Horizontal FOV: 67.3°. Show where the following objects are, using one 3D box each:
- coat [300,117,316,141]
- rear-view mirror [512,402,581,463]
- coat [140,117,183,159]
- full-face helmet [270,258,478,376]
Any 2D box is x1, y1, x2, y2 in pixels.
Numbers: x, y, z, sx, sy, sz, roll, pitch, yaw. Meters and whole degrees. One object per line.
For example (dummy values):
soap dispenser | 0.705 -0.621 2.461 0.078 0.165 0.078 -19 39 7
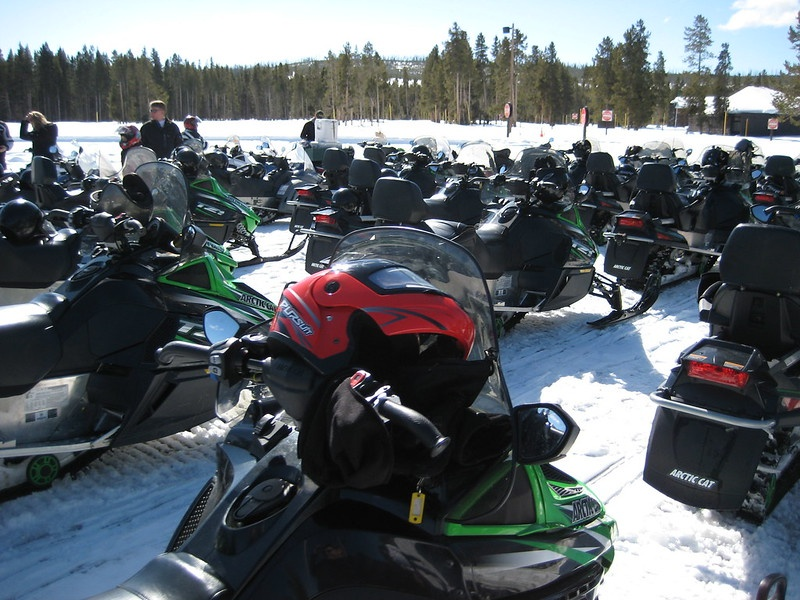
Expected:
coat | -2.723 -5.019 17.830 0.360 0.623 0.996 -1 15 -11
rear-view mirror | 0.566 0.511 2.397 0.245 0.255 0.067 -9 -15 31
coat | -4.298 -2.851 10.891 0.730 0.768 0.272 -7 20 -25
full-face helmet | -0.088 0.026 2.268 0.652 0.343 0.407 -5 -3 -9
